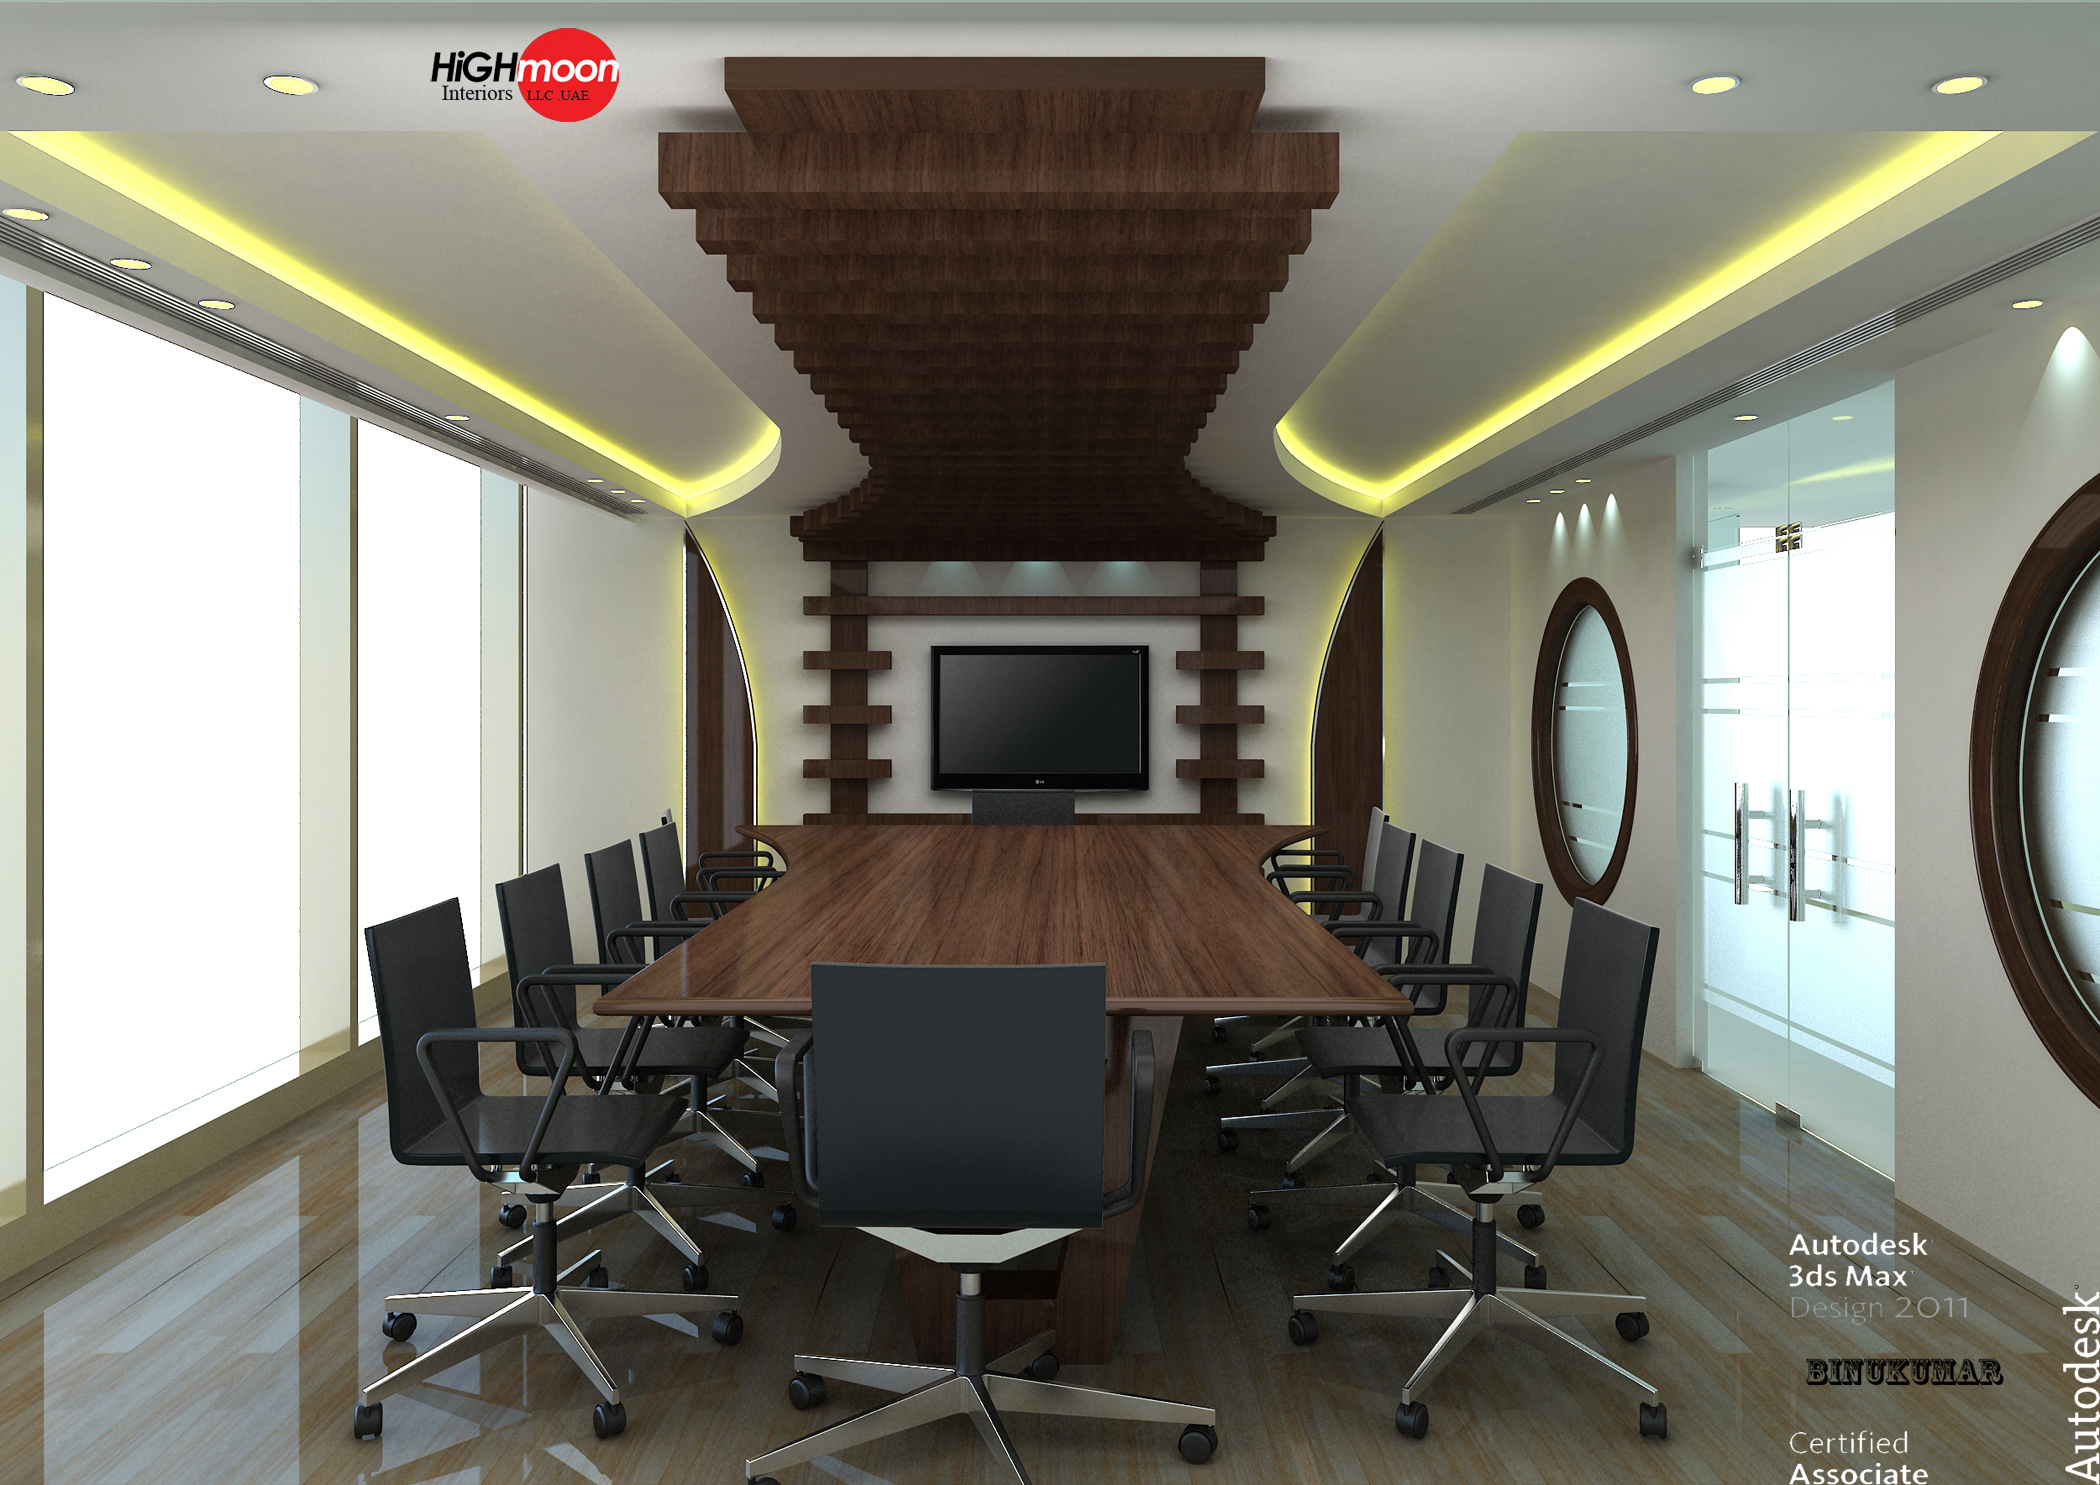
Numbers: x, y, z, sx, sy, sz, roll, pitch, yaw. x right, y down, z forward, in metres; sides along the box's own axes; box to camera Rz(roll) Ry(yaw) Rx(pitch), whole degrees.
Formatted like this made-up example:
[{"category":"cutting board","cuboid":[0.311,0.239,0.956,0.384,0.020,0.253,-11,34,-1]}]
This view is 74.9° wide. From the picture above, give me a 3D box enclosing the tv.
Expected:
[{"category":"tv","cuboid":[-0.096,-0.171,9.813,1.552,1.055,0.175,0,10,1]}]
